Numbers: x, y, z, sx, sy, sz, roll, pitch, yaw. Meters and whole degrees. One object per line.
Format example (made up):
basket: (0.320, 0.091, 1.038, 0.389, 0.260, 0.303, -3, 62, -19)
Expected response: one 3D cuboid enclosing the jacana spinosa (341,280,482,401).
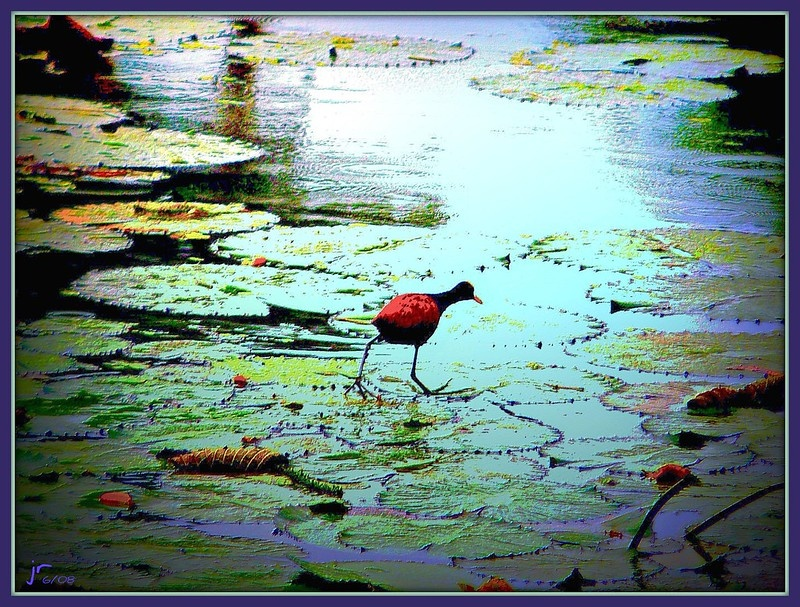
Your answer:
jacana spinosa: (0.022, 0.121, 4.938, 0.741, 0.390, 0.195, -2, 4, -43)
